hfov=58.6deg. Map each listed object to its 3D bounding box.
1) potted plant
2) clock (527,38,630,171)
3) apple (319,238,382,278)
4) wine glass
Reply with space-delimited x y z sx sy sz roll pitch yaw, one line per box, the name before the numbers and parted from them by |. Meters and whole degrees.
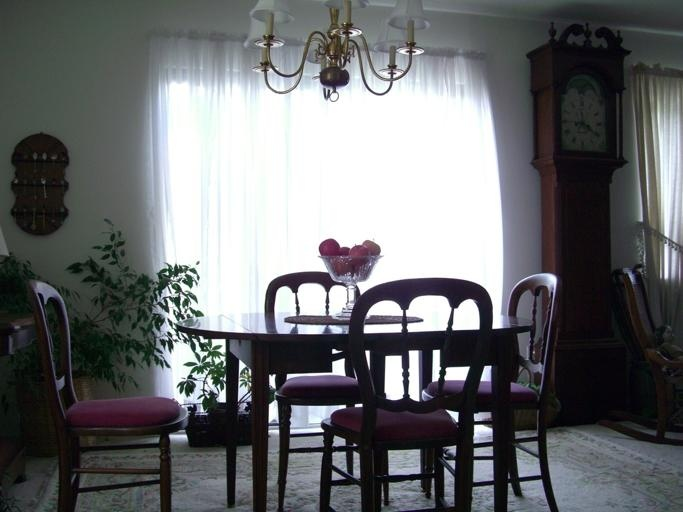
potted plant | -1.657 0.397 4.415 1.197 2.195 1.231 -1 0 -23
clock | 1.865 -1.210 4.742 0.718 1.105 0.288 -1 1 -1
apple | 0.043 0.016 3.060 0.205 0.149 0.225 2 -5 -12
wine glass | 0.045 0.196 3.141 0.287 0.277 0.314 0 -14 8
